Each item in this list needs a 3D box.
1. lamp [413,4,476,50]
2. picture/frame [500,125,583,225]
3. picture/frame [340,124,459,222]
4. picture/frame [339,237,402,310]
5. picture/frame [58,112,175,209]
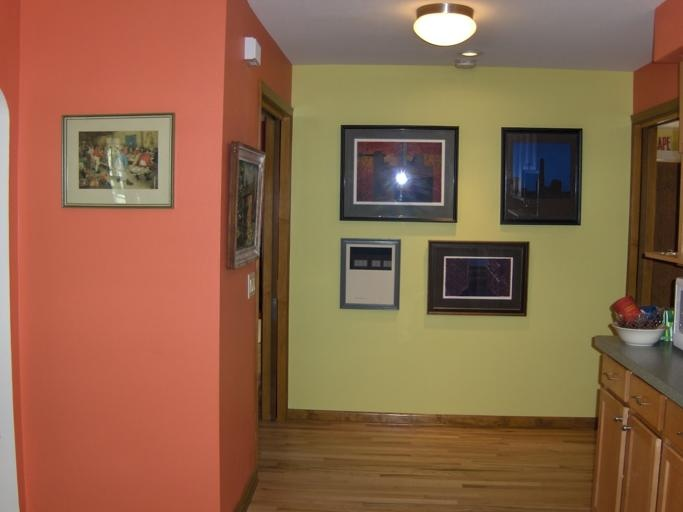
[{"bbox_3d":[0.618,-1.373,3.446,0.355,0.213,0.234,3,15,10],"label":"lamp"},{"bbox_3d":[1.523,-0.642,4.372,0.664,0.897,0.056,0,1,0],"label":"picture/frame"},{"bbox_3d":[0.477,-0.659,4.403,0.658,0.617,0.057,0,0,2],"label":"picture/frame"},{"bbox_3d":[0.241,0.121,4.446,0.487,0.629,0.041,0,2,1],"label":"picture/frame"},{"bbox_3d":[-1.192,-0.533,3.156,0.460,0.418,0.020,2,3,1],"label":"picture/frame"}]
